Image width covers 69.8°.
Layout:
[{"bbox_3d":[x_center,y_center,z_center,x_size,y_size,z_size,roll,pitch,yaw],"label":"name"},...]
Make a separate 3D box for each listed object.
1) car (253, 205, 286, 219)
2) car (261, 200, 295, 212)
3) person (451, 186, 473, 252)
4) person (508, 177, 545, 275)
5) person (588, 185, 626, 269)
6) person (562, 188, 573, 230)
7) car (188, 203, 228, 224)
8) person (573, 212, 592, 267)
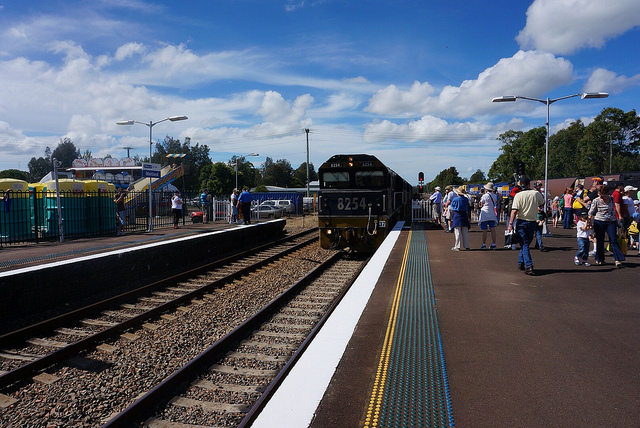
[{"bbox_3d":[-3.751,-0.195,35.302,1.771,0.731,0.866,4,0,-5],"label":"car"},{"bbox_3d":[-3.465,-0.562,38.038,2.016,0.850,1.092,3,3,0],"label":"car"},{"bbox_3d":[4.041,0.111,13.141,0.499,1.833,0.761,1,3,17],"label":"person"},{"bbox_3d":[4.683,0.259,10.410,0.727,2.115,0.802,1,3,26],"label":"person"},{"bbox_3d":[6.993,0.272,11.146,0.774,1.904,1.342,2,4,34],"label":"person"},{"bbox_3d":[10.102,-0.220,18.644,0.369,1.688,1.676,1,3,29],"label":"person"},{"bbox_3d":[-6.412,-0.038,26.697,1.664,1.121,1.213,-2,2,10],"label":"car"},{"bbox_3d":[6.356,0.599,11.025,0.372,1.261,0.538,1,3,30],"label":"person"}]
